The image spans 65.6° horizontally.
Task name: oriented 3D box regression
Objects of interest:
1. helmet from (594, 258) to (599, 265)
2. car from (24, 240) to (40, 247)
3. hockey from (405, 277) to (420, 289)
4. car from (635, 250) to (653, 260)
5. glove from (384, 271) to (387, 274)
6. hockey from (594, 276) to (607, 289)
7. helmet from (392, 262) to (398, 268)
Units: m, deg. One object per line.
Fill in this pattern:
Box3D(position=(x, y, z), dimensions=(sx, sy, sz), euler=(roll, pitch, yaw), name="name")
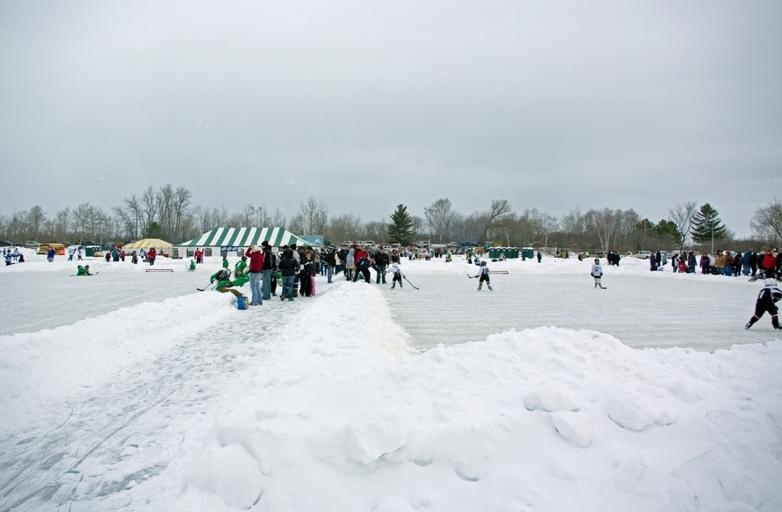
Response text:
Box3D(position=(8.546, 0.251, 25.130), dimensions=(0.194, 0.269, 0.260), euler=(-7, 5, 7), name="helmet")
Box3D(position=(-47.601, -1.544, 80.201), dimensions=(2.158, 1.086, 1.320), euler=(-1, -2, 30), name="car")
Box3D(position=(0.925, 1.183, 24.573), dimensions=(0.183, 0.255, 1.421), euler=(29, -4, 19), name="hockey")
Box3D(position=(29.622, -0.072, 70.994), dimensions=(2.371, 1.238, 1.428), euler=(2, -5, -9), name="car")
Box3D(position=(-0.250, 0.713, 25.783), dimensions=(0.096, 0.106, 0.104), euler=(2, 1, 20), name="glove")
Box3D(position=(8.817, 1.153, 25.414), dimensions=(0.312, 0.522, 0.704), euler=(-9, 3, 17), name="hockey")
Box3D(position=(0.182, 0.376, 24.177), dimensions=(0.168, 0.208, 0.194), euler=(0, -9, -5), name="helmet")
